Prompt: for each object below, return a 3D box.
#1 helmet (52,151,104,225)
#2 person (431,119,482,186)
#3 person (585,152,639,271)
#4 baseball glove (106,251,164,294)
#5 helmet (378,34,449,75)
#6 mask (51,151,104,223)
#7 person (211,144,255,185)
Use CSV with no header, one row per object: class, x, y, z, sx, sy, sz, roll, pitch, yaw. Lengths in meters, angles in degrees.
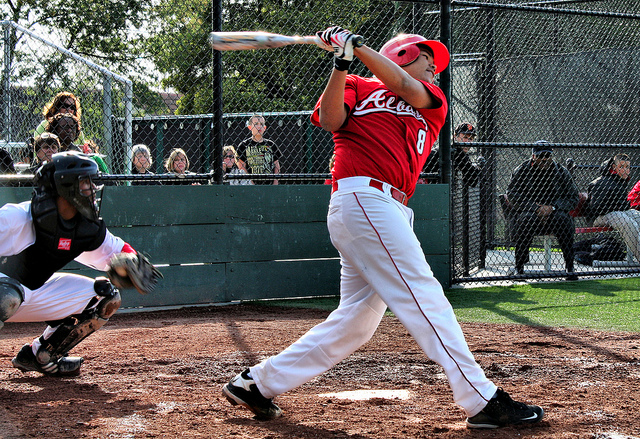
helmet,-2.087,-0.312,6.933,0.489,0.515,0.413,2,10,-12
person,1.652,-1.065,10.635,0.456,0.937,0.320,-13,6,1
person,4.173,-0.119,11.698,0.477,1.590,0.909,-9,14,-38
baseball glove,-1.507,0.445,6.956,0.310,0.207,0.421,-2,-18,12
helmet,0.742,-1.303,6.522,0.506,0.259,0.301,-6,-39,4
mask,-1.962,-0.231,6.956,0.543,0.573,0.449,-9,-13,38
person,-1.051,-0.667,10.175,0.565,0.565,1.765,0,9,-11
